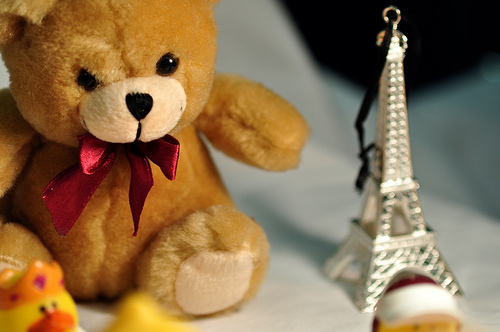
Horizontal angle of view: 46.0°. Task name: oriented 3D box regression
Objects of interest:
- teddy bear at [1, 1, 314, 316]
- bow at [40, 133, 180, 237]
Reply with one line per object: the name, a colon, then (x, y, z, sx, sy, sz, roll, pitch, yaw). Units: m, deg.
teddy bear: (-0.203, -0.008, 1.174, 0.628, 0.599, 0.398, 8, 40, -9)
bow: (-0.265, 0.024, 1.173, 0.259, 0.222, 0.077, 2, 32, -42)
